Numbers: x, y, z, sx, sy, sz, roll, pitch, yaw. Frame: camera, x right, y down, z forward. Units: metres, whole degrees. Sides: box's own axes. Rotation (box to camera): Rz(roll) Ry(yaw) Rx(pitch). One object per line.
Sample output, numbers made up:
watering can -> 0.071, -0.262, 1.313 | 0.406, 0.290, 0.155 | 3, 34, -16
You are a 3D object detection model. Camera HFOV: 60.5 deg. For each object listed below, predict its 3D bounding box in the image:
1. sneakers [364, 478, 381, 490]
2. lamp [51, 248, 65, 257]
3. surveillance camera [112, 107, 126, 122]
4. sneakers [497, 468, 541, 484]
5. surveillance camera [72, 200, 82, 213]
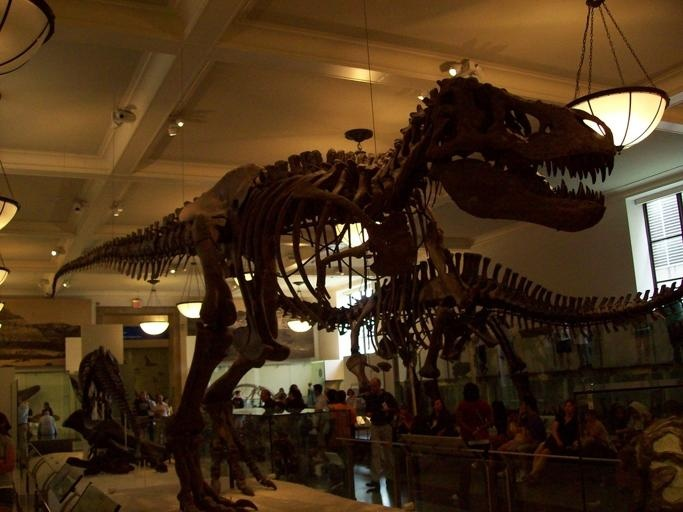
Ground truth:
sneakers -> 0.295, 2.138, 5.469 | 0.069, 0.140, 0.204 | 9, -28, -27
lamp -> -6.343, -0.091, 13.061 | 0.376, 0.138, 0.286 | -14, -12, 43
surveillance camera -> -2.745, -1.739, 7.211 | 0.146, 0.145, 0.058 | 0, 25, -13
sneakers -> 1.304, 1.630, 4.348 | 0.307, 0.125, 0.097 | -7, -7, 4
surveillance camera -> -4.684, -0.875, 10.377 | 0.191, 0.189, 0.046 | -3, -4, 7
